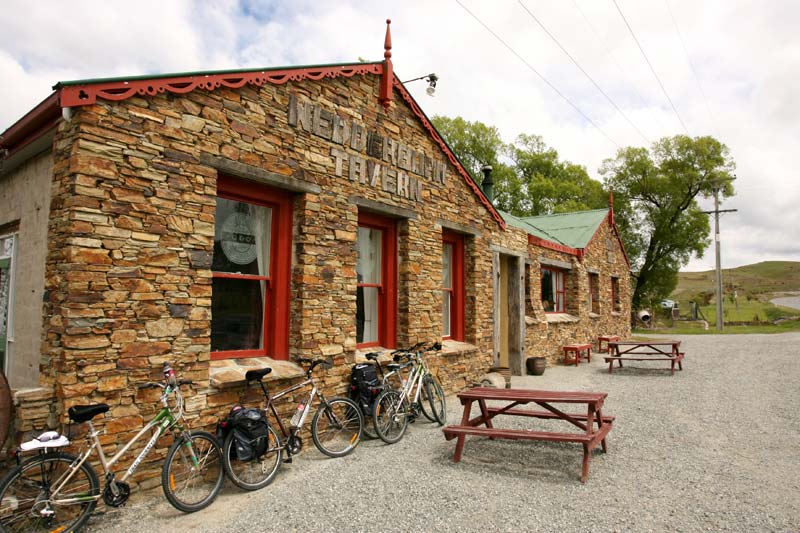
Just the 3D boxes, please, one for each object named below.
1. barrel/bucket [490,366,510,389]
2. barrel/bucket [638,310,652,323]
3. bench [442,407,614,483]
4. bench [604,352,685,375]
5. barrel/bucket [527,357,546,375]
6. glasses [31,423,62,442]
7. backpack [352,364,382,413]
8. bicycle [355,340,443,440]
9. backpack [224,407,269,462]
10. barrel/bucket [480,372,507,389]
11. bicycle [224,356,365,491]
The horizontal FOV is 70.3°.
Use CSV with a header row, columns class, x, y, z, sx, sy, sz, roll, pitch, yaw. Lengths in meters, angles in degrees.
class,x,y,z,sx,sy,sz,roll,pitch,yaw
barrel/bucket,2.144,2.323,12.084,0.378,0.394,0.421,0,-6,0
barrel/bucket,12.496,2.556,29.195,0.544,0.781,1.145,2,6,22
bench,1.705,2.343,7.931,1.541,0.478,1.126,-2,-5,23
bench,6.340,2.419,14.651,1.512,0.407,1.185,-4,-5,30
barrel/bucket,3.405,2.451,14.251,0.439,0.360,0.449,-2,-3,0
glasses,-3.983,1.903,6.476,0.285,0.098,0.189,0,1,-3
backpack,-0.541,1.943,9.021,0.484,0.843,0.695,-5,-7,21
bicycle,0.105,2.134,9.538,0.938,1.126,1.901,-8,-4,34
backpack,-2.018,2.202,7.536,0.543,0.653,0.313,-2,6,-17
barrel/bucket,1.901,2.312,11.634,0.473,0.278,0.459,0,-1,0
bicycle,-1.568,2.102,8.064,0.801,1.472,2.088,6,8,45
